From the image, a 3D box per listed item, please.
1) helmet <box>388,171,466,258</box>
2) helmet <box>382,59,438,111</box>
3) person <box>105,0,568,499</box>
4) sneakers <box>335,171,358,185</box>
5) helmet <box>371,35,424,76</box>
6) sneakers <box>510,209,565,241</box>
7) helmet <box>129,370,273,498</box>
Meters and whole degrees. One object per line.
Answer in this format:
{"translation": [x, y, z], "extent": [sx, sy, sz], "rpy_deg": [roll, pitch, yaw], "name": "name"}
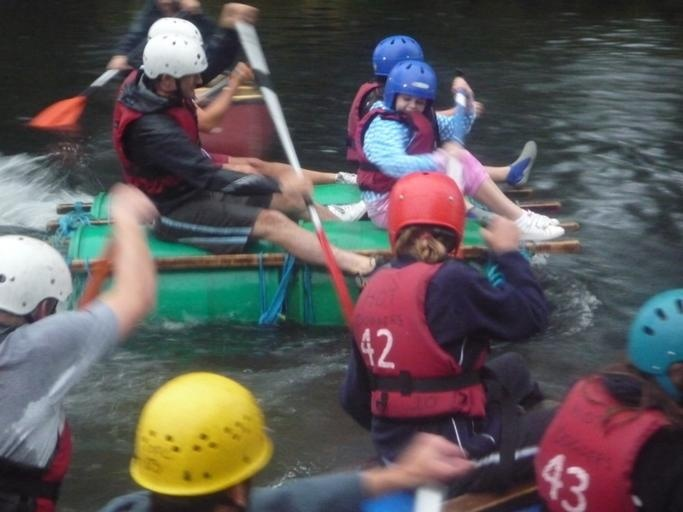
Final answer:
{"translation": [0.360, -0.153, 3.465], "extent": [0.280, 0.359, 0.314], "rpy_deg": [0, 57, 5], "name": "helmet"}
{"translation": [0.461, -1.104, 5.224], "extent": [0.258, 0.247, 0.321], "rpy_deg": [6, 24, -16], "name": "helmet"}
{"translation": [0.012, -0.021, 3.877], "extent": [1.224, 2.123, 1.422], "rpy_deg": [8, 35, 34], "name": "person"}
{"translation": [0.042, -0.598, 6.272], "extent": [0.147, 0.060, 0.084], "rpy_deg": [10, 75, 20], "name": "sneakers"}
{"translation": [0.392, -1.451, 5.968], "extent": [0.387, 0.285, 0.287], "rpy_deg": [-27, 27, -26], "name": "helmet"}
{"translation": [1.325, -0.207, 5.478], "extent": [0.336, 0.123, 0.186], "rpy_deg": [-3, 28, -1], "name": "sneakers"}
{"translation": [-0.458, 0.605, 2.766], "extent": [0.374, 0.235, 0.428], "rpy_deg": [-5, 10, 19], "name": "helmet"}
